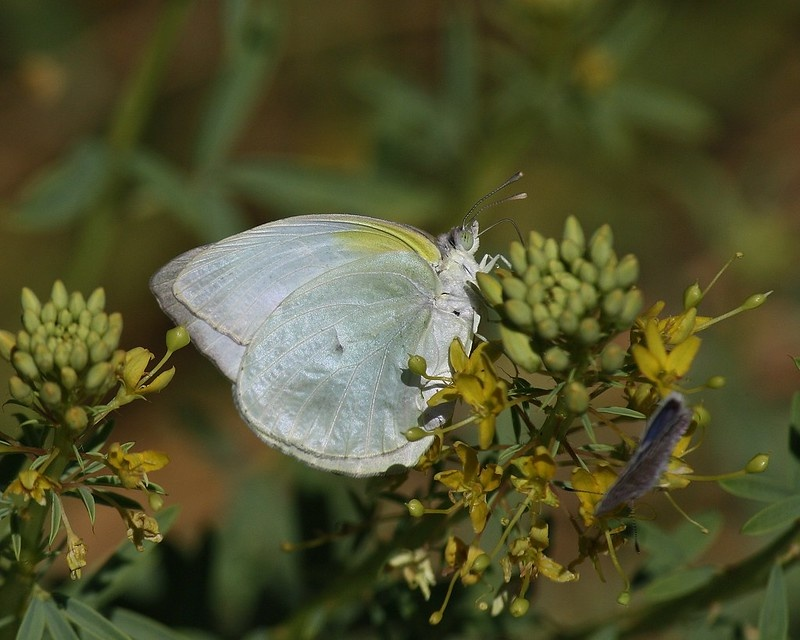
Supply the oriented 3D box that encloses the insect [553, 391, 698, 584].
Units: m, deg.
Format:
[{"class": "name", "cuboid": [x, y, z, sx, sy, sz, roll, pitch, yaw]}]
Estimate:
[{"class": "insect", "cuboid": [0.889, 0.493, 3.522, 0.313, 0.535, 0.164, -3, 19, -13]}]
